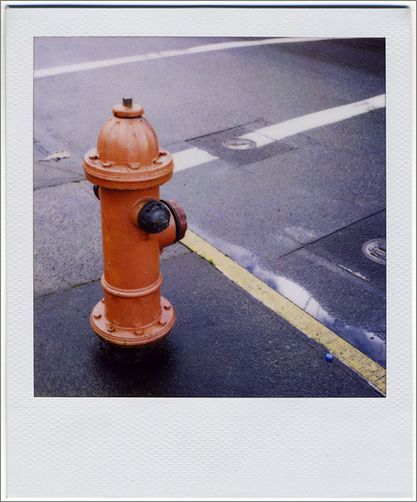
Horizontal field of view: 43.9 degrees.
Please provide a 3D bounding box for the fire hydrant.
[{"bbox_3d":[-0.490,-0.097,3.267,0.654,1.474,0.515,-1,24,1],"label":"fire hydrant"}]
